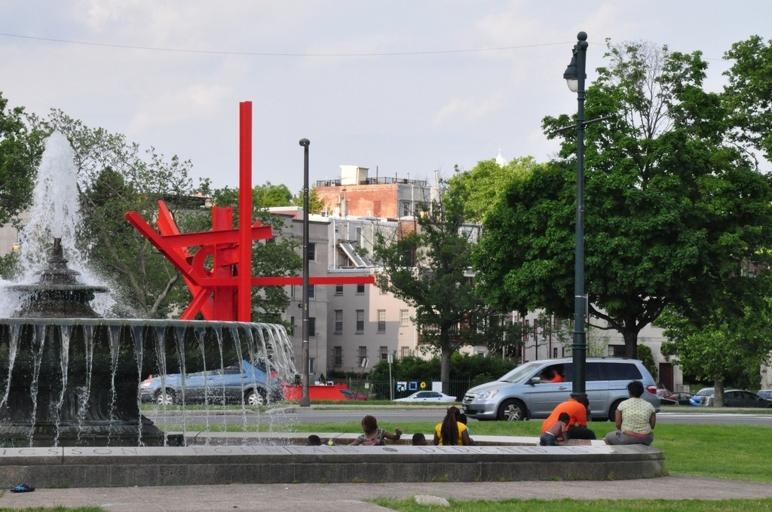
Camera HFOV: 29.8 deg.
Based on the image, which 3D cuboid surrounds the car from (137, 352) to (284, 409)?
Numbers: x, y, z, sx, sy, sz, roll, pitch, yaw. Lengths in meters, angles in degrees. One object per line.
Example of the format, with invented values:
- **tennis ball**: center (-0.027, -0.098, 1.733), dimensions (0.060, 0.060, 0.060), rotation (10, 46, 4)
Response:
- **car**: center (-5.991, 4.573, 51.378), dimensions (6.304, 1.981, 2.760), rotation (1, -6, 9)
